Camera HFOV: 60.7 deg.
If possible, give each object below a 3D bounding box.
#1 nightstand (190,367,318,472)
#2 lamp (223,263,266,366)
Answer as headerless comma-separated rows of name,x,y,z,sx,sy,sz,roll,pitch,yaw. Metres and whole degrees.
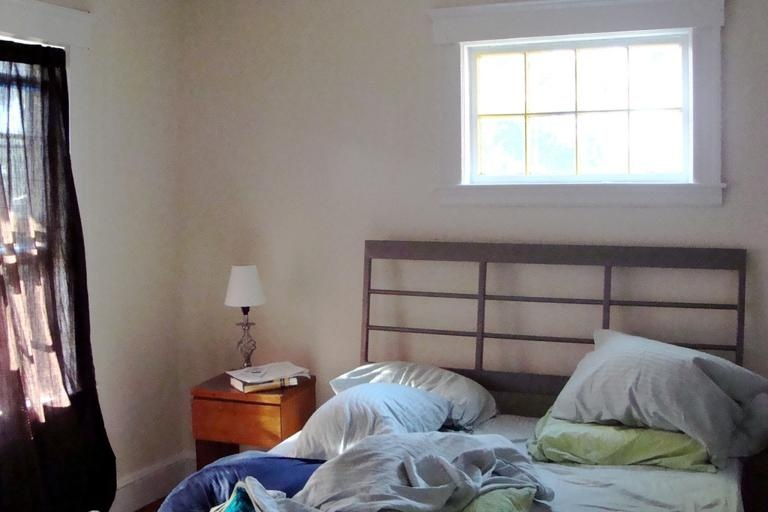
nightstand,-0.823,1.103,4.131,0.655,0.678,0.484,0,11,20
lamp,-0.876,0.390,4.178,0.229,0.665,0.347,-2,3,-10
